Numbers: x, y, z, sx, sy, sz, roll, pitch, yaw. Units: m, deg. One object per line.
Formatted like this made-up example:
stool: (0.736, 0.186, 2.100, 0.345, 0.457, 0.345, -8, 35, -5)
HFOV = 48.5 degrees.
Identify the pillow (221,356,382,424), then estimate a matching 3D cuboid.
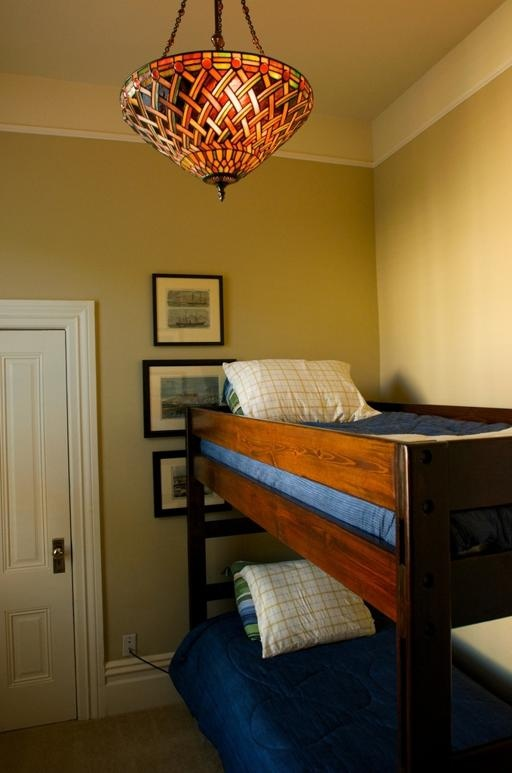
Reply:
pillow: (0.174, 0.024, 2.228, 0.342, 0.109, 0.365, 1, 29, -28)

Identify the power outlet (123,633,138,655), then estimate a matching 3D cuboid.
power outlet: (-0.568, 1.156, 2.553, 0.063, 0.091, 0.012, 0, 0, -15)

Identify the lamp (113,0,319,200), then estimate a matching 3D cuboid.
lamp: (-0.092, -0.574, 1.239, 0.422, 0.206, 0.241, 0, 0, 3)
